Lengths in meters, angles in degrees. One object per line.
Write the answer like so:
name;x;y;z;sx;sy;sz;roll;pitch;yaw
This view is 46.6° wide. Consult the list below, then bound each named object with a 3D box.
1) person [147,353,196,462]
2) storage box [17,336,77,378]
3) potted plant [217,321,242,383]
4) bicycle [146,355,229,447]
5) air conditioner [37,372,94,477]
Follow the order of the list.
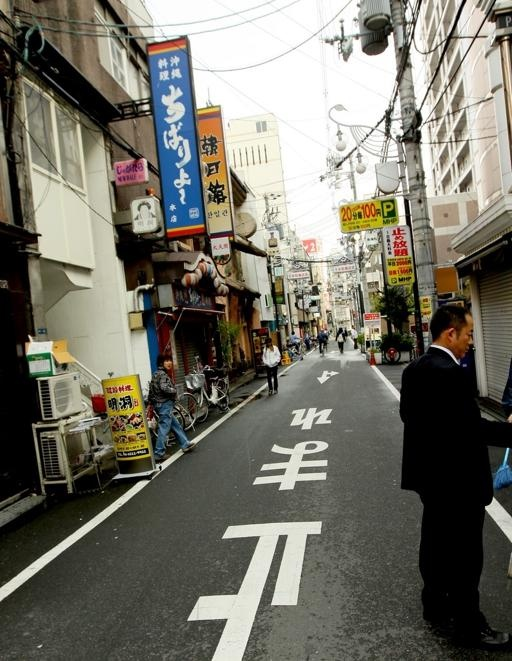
person;-1.381;1.172;9.162;0.611;1.595;1.000;-11;-1;-9
storage box;-2.738;0.310;7.855;0.555;0.550;0.514;-1;5;-1
potted plant;-1.015;0.864;22.427;1.001;2.773;2.313;-1;-4;7
bicycle;-1.239;1.214;9.553;1.203;1.592;1.098;3;9;-28
air conditioner;-2.493;1.217;7.786;0.531;1.365;1.044;-11;-1;14
